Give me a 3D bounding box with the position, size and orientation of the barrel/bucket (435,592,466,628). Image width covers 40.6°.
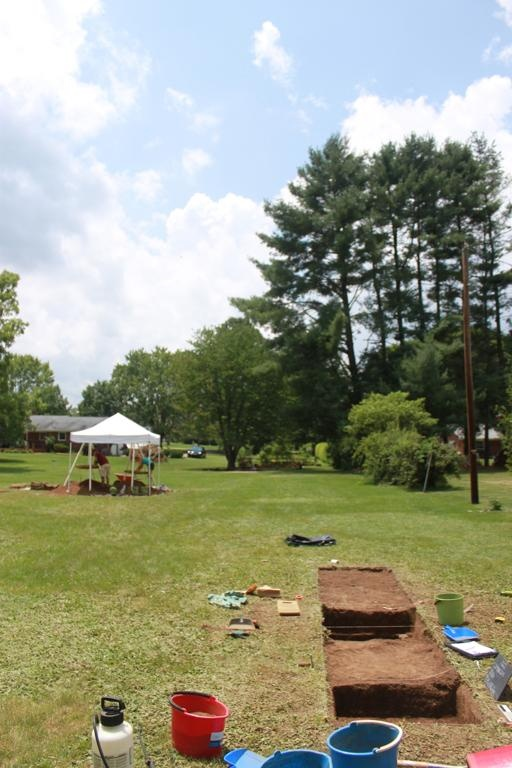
[{"bbox_3d":[2.098,2.443,7.458,0.273,0.242,0.336,-4,-4,11],"label":"barrel/bucket"}]

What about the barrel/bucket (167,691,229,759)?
[{"bbox_3d":[-0.418,2.415,4.912,0.393,0.291,0.413,0,-10,0],"label":"barrel/bucket"}]

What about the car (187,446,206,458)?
[{"bbox_3d":[-5.500,6.310,64.109,1.161,0.830,1.874,-1,-10,5],"label":"car"}]
